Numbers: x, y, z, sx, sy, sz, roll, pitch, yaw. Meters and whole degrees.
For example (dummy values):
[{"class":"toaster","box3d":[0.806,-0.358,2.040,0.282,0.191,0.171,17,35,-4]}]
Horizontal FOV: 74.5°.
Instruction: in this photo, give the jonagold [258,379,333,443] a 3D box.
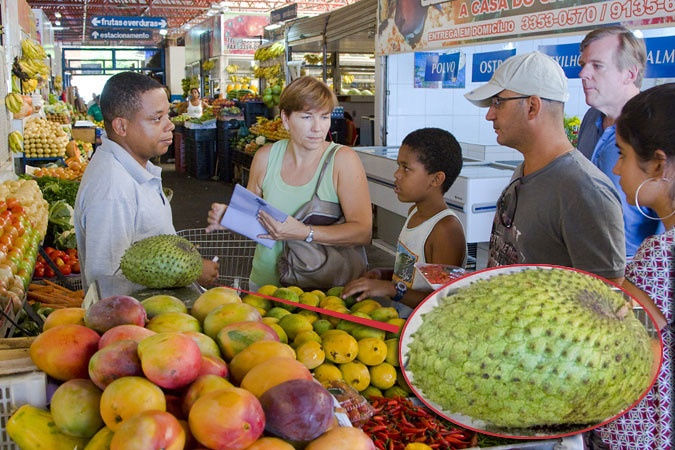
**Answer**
[{"class":"jonagold","box3d":[-0.091,0.422,1.017,0.155,0.121,0.115,3,-1,1]}]
